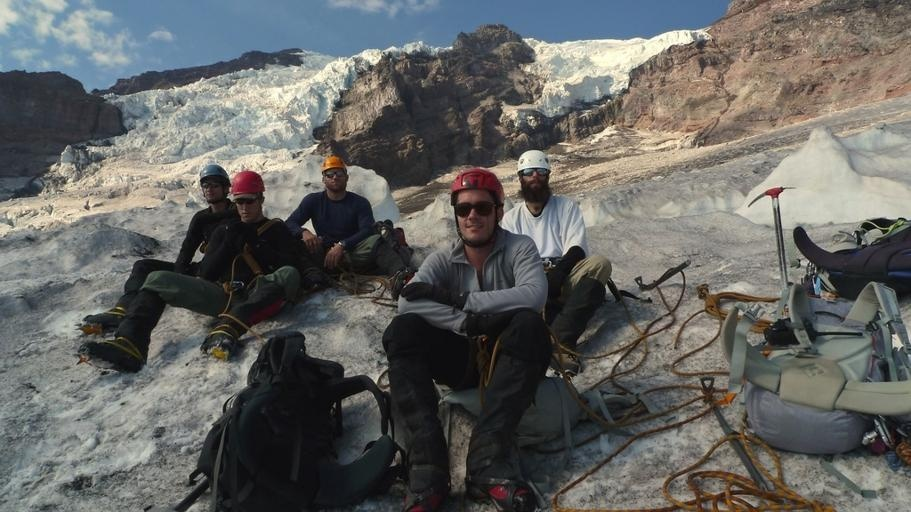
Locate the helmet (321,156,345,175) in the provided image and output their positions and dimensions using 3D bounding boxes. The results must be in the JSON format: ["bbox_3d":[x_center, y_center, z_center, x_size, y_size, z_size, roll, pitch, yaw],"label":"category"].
[{"bbox_3d":[-3.389,-2.533,18.006,0.629,0.413,0.533,-16,22,-12],"label":"helmet"}]

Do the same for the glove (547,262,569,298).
[{"bbox_3d":[2.536,0.581,16.446,0.717,0.798,0.329,1,-9,38],"label":"glove"}]
